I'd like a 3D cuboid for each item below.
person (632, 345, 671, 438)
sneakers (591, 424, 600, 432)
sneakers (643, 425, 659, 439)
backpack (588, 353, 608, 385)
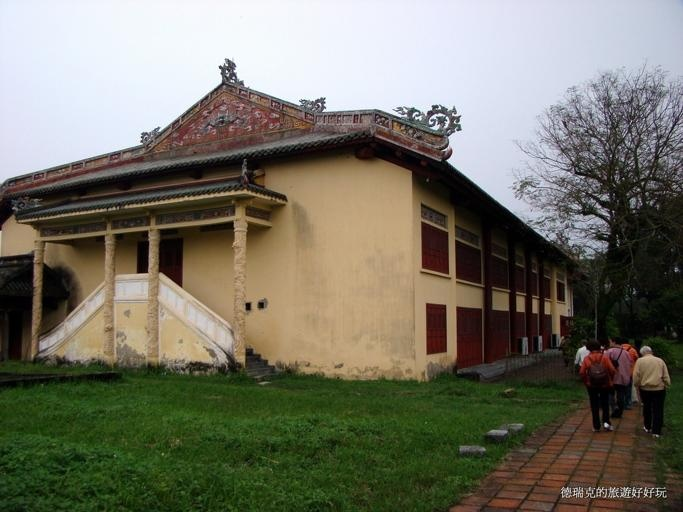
[{"bbox_3d":[5.712,2.537,10.003,0.470,1.421,0.553,0,-12,-4],"label":"person"},{"bbox_3d":[4.667,3.178,10.065,0.126,0.094,0.099,-5,-12,38],"label":"sneakers"},{"bbox_3d":[5.547,3.157,9.790,0.139,0.187,0.445,-3,-13,11],"label":"sneakers"},{"bbox_3d":[4.681,2.075,10.062,0.423,0.599,0.333,-3,-42,18],"label":"backpack"}]
